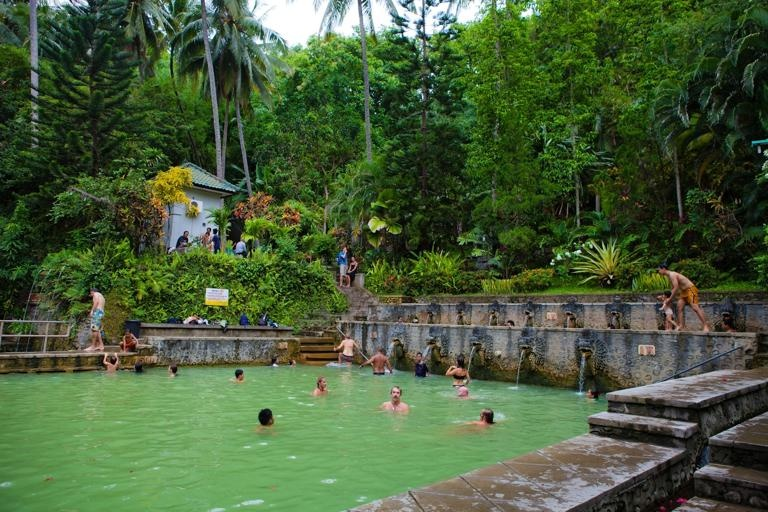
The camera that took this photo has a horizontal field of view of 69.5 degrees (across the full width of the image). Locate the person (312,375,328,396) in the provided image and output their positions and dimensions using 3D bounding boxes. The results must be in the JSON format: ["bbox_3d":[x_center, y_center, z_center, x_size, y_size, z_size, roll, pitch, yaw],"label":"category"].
[{"bbox_3d":[-1.962,3.971,17.077,0.442,0.603,0.757,0,4,-6],"label":"person"}]

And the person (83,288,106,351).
[{"bbox_3d":[-10.758,2.380,20.553,0.595,2.220,1.562,-2,5,-29],"label":"person"}]

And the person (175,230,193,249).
[{"bbox_3d":[-9.899,-0.710,27.110,0.637,0.870,1.230,-1,5,-23],"label":"person"}]

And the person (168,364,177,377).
[{"bbox_3d":[-7.357,3.963,19.268,0.243,0.465,0.702,-1,5,-25],"label":"person"}]

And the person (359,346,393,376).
[{"bbox_3d":[-0.272,4.164,21.756,1.144,1.698,0.544,2,-9,-21],"label":"person"}]

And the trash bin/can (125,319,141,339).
[{"bbox_3d":[-10.051,2.884,21.659,0.620,0.687,0.633,2,3,28],"label":"trash bin/can"}]

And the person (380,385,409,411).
[{"bbox_3d":[0.332,4.051,15.338,0.988,0.855,0.556,0,-17,7],"label":"person"}]

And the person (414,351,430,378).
[{"bbox_3d":[1.393,4.046,20.472,0.456,0.745,0.933,1,4,5],"label":"person"}]

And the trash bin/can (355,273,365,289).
[{"bbox_3d":[-1.303,1.394,29.472,0.396,0.715,0.707,-1,4,-42],"label":"trash bin/can"}]

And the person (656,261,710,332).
[{"bbox_3d":[8.915,1.270,16.399,1.339,1.948,0.709,-3,-12,34],"label":"person"}]

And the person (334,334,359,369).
[{"bbox_3d":[-1.640,4.181,23.623,0.967,1.851,0.702,5,7,-1],"label":"person"}]

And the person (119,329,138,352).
[{"bbox_3d":[-9.535,3.233,20.803,0.683,0.837,0.688,-3,-4,-4],"label":"person"}]
